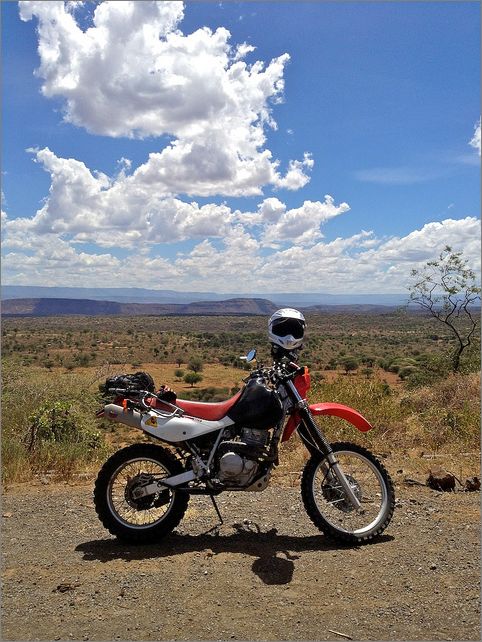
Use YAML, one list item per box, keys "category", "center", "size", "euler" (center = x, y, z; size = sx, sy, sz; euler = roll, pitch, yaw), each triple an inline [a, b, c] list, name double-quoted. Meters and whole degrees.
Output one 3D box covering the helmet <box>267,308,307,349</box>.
- category: "helmet"
  center: [0.438, 0.091, 5.029]
  size: [0.377, 0.423, 0.450]
  euler: [6, -6, 1]
